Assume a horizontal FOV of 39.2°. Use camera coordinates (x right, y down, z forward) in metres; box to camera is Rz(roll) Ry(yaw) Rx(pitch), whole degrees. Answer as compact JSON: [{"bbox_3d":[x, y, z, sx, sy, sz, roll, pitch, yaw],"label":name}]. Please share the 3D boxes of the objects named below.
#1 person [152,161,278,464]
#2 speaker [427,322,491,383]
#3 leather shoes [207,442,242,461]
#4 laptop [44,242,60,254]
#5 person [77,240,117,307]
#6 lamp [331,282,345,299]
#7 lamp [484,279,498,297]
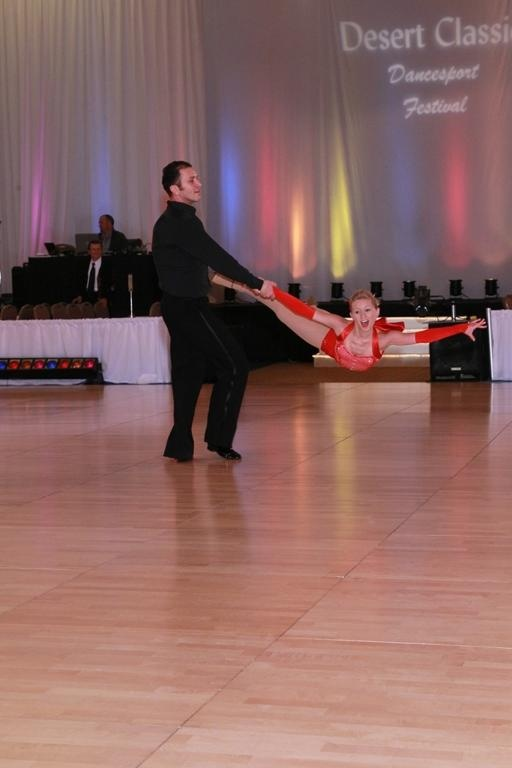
[{"bbox_3d":[-0.248,-0.362,3.861,0.551,1.621,0.395,4,5,27],"label":"person"},{"bbox_3d":[2.143,-0.329,7.632,0.627,0.555,0.607,-1,-1,13],"label":"speaker"},{"bbox_3d":[-0.173,0.391,4.096,0.219,0.086,0.077,14,17,10],"label":"leather shoes"},{"bbox_3d":[-2.972,-1.969,10.521,0.163,0.218,0.607,0,4,-17],"label":"laptop"},{"bbox_3d":[-1.960,-1.375,8.877,0.354,0.805,0.666,0,4,-20],"label":"person"},{"bbox_3d":[1.254,-1.379,10.653,0.258,0.300,0.271,1,5,15],"label":"lamp"},{"bbox_3d":[3.353,-1.361,10.297,0.262,0.246,0.254,0,3,15],"label":"lamp"}]
